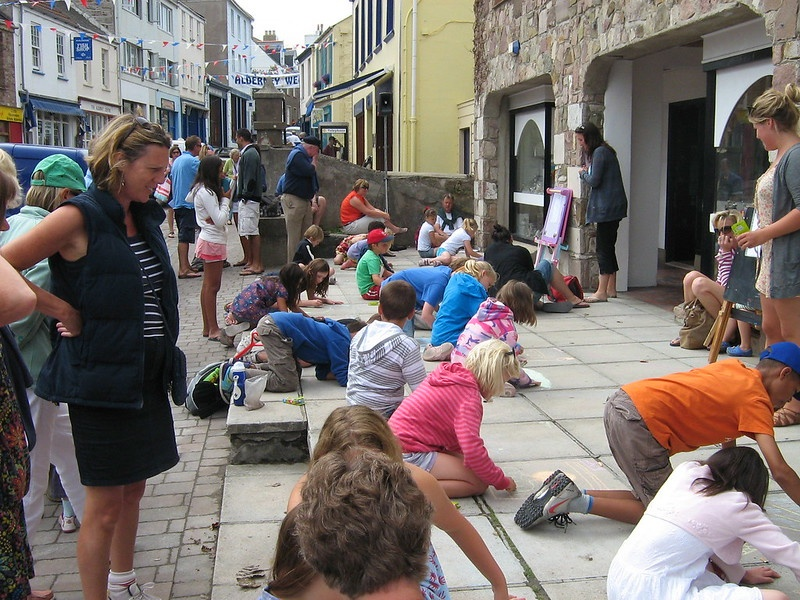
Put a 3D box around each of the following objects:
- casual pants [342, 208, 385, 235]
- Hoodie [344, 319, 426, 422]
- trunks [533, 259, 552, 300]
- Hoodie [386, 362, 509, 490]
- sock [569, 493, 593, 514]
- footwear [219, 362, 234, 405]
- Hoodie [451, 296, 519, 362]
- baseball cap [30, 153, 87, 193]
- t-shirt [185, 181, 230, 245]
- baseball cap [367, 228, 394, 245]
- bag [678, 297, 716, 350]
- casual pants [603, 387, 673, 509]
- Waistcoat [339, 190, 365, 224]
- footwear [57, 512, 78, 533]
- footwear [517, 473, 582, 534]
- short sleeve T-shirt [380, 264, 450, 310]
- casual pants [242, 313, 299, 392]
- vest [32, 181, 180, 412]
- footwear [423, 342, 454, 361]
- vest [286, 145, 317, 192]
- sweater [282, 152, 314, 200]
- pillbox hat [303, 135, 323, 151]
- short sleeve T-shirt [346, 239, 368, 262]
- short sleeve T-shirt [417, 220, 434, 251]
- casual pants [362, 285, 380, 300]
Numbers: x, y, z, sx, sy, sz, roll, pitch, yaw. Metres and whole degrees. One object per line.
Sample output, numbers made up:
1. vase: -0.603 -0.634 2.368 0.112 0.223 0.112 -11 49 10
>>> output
1. casual pants: -0.694 -1.409 13.377 0.669 0.241 0.423 -21 4 3
2. Hoodie: -0.102 0.449 4.426 0.455 0.436 0.282 20 31 30
3. trunks: 1.802 -0.284 8.700 0.162 0.408 0.288 4 -4 -13
4. Hoodie: 0.245 0.646 4.121 0.665 0.603 0.660 4 11 -14
5. sock: 0.971 1.079 3.765 0.064 0.082 0.130 20 -5 -3
6. footwear: -1.381 0.650 5.660 0.127 0.149 0.371 0 36 -5
7. Hoodie: 0.760 0.313 5.932 0.478 0.616 0.611 17 10 29
8. baseball cap: -1.973 -0.746 4.137 0.231 0.191 0.353 4 -2 25
9. t-shirt: -2.130 -0.965 7.899 0.576 0.711 0.556 -6 4 -25
10. baseball cap: -0.248 -0.918 9.988 0.446 0.203 0.297 -6 8 -30
11. bag: 2.934 0.231 6.926 0.270 0.509 0.442 2 4 -13
12. casual pants: 1.225 0.744 3.592 0.292 0.571 0.427 -10 21 -4
13. Waistcoat: -0.921 -1.748 13.445 0.518 0.758 0.611 -7 19 -25
14. footwear: -1.951 1.294 4.133 0.062 0.076 0.173 -3 6 -20
15. footwear: 0.796 1.065 3.823 0.522 0.239 0.202 1 14 -30
16. short sleeve T-shirt: 0.249 -0.140 7.741 0.582 0.323 0.465 -3 18 -1
17. casual pants: -1.034 0.437 5.949 0.513 0.709 0.462 -6 4 -15
18. vest: -1.328 0.026 3.201 0.673 1.055 0.384 -10 13 -29
19. footwear: 0.365 0.496 6.740 0.339 0.162 0.128 -18 -17 22
20. vest: -1.653 -2.114 11.796 0.536 0.852 0.670 3 11 -10
21. sweater: -1.638 -2.080 11.824 0.515 0.850 0.679 2 7 -4
22. pillbox hat: -1.457 -2.678 11.992 0.349 0.147 0.280 3 6 -18
23. short sleeve T-shirt: -0.703 -0.827 11.782 0.404 0.233 0.337 -23 42 22
24. short sleeve T-shirt: 0.542 -1.061 12.886 0.371 0.707 0.704 1 3 -5
25. casual pants: -0.380 -0.104 9.489 0.278 0.175 0.097 -9 -16 5
